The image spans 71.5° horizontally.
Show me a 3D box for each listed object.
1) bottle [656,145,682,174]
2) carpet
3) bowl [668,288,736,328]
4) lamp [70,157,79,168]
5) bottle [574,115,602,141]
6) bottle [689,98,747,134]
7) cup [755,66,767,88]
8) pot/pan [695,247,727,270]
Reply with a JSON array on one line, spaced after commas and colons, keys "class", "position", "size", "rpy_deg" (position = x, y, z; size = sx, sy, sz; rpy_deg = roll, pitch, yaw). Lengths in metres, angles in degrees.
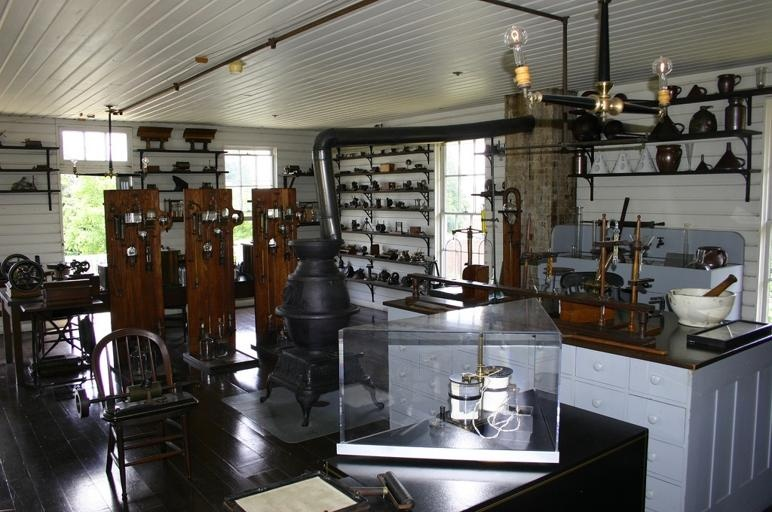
[{"class": "bottle", "position": [3.450, -1.186, 6.534], "size": [0.262, 0.342, 0.178], "rpy_deg": [4, 13, 21]}, {"class": "carpet", "position": [-1.164, 1.753, 5.928], "size": [1.369, 0.012, 1.503], "rpy_deg": [-3, 7, -40]}, {"class": "bowl", "position": [2.599, 0.410, 4.432], "size": [0.398, 0.190, 0.399], "rpy_deg": [-2, 3, 0]}, {"class": "lamp", "position": [-5.620, -1.686, 9.579], "size": [0.146, 0.148, 0.138], "rpy_deg": [1, 3, -4]}, {"class": "bottle", "position": [2.579, -1.643, 6.868], "size": [0.351, 0.303, 0.172], "rpy_deg": [2, 13, 17]}, {"class": "bottle", "position": [3.733, -1.595, 6.269], "size": [0.371, 0.414, 0.727], "rpy_deg": [-4, 4, -42]}, {"class": "cup", "position": [4.190, -1.997, 5.978], "size": [0.116, 0.242, 0.304], "rpy_deg": [7, 15, 34]}, {"class": "pot/pan", "position": [3.754, 0.019, 6.181], "size": [0.339, 0.273, 0.245], "rpy_deg": [-4, 0, 11]}]
